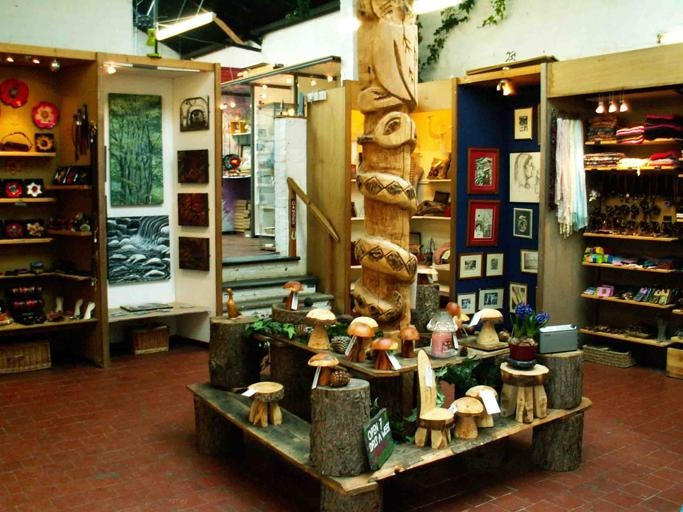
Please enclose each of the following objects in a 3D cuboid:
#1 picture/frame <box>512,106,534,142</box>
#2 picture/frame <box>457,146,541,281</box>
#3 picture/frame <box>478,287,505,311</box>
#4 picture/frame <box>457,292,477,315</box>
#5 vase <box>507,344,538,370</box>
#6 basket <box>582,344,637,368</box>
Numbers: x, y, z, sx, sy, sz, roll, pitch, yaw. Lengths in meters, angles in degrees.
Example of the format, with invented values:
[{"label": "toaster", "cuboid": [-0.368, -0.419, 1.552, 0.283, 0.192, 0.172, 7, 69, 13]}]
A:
[{"label": "picture/frame", "cuboid": [2.590, -1.867, 7.477, 0.036, 0.436, 0.308, -5, 10, -35]}, {"label": "picture/frame", "cuboid": [2.184, -0.563, 7.501, 1.148, 2.153, 0.707, 1, 8, 7]}, {"label": "picture/frame", "cuboid": [2.114, 0.605, 7.523, 0.374, 0.264, 0.015, -2, 3, -29]}, {"label": "picture/frame", "cuboid": [1.669, 0.612, 7.068, 0.448, 0.371, 0.043, -2, 6, -40]}, {"label": "vase", "cuboid": [1.367, 0.755, 3.984, 0.207, 0.147, 0.179, 3, -4, -4]}, {"label": "basket", "cuboid": [3.336, 1.264, 6.589, 0.438, 0.189, 0.554, -1, 3, -40]}]
